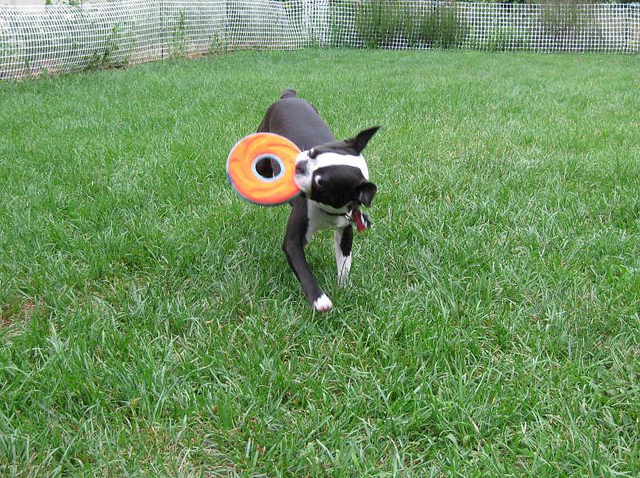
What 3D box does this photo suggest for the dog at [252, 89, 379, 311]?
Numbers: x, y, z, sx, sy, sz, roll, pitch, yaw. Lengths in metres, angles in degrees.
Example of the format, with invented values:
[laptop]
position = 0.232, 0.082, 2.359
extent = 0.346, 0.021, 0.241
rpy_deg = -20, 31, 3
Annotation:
[dog]
position = -0.095, -0.461, 4.279
extent = 0.498, 1.134, 2.303
rpy_deg = 2, 27, -15
